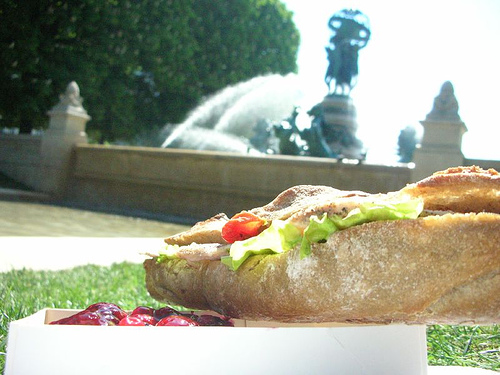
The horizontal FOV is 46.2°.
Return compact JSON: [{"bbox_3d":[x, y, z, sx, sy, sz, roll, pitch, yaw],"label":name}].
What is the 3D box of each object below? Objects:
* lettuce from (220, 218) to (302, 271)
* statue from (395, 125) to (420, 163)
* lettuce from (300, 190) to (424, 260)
[{"bbox_3d":[0.031,0.195,1.918,0.226,0.093,0.144,-37,-20,-11],"label":"lettuce"},{"bbox_3d":[1.682,-0.474,6.229,0.184,0.473,1.134,5,14,15],"label":"statue"},{"bbox_3d":[0.341,0.121,1.775,0.329,0.196,0.184,-4,-3,12],"label":"lettuce"}]
